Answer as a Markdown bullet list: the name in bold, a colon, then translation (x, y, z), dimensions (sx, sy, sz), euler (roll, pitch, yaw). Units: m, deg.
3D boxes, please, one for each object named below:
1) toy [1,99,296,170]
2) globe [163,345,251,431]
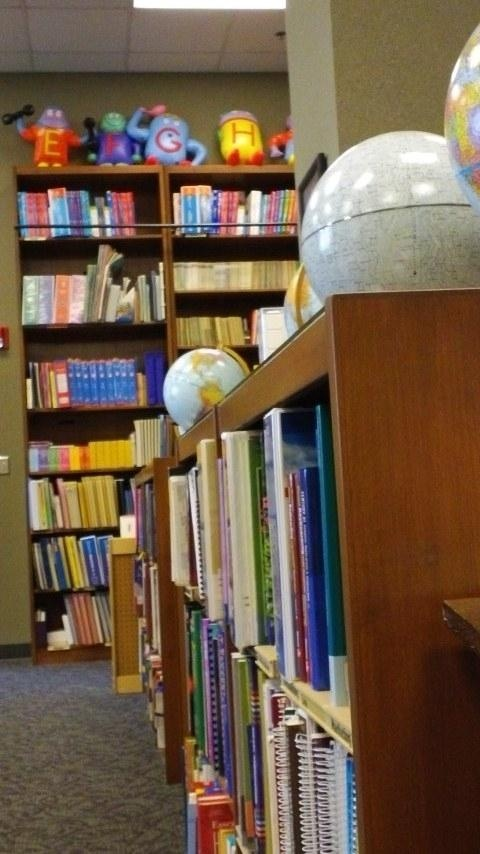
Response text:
- **toy**: translation (-0.576, -1.600, 4.533), dimensions (1.067, 0.319, 0.194), euler (-2, -1, -11)
- **globe**: translation (-0.084, -0.087, 1.955), dimensions (0.188, 0.236, 0.182), euler (-6, -1, -43)
